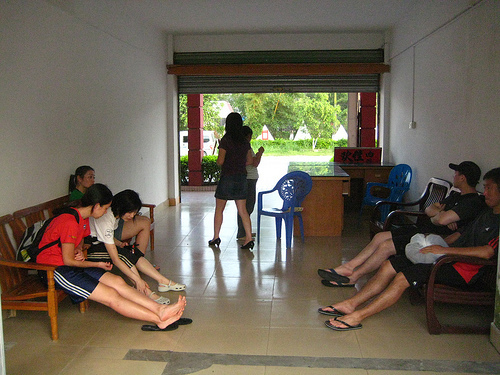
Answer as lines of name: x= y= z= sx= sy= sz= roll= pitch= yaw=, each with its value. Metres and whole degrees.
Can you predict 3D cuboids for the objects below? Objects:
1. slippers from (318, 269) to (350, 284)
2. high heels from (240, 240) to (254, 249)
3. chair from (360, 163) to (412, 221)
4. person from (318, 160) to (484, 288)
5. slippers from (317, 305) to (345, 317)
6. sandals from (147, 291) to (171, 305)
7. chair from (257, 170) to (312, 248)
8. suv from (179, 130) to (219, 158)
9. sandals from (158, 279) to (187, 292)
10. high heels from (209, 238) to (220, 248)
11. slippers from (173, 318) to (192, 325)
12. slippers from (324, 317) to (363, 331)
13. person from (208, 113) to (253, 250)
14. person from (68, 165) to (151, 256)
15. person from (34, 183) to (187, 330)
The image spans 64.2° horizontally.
slippers: x=0.850 y=0.903 z=4.127 sx=0.357 sy=0.134 sz=0.110 roll=12 pitch=13 yaw=3
high heels: x=-0.053 y=0.783 z=5.461 sx=0.073 sy=0.105 sz=0.236 roll=-3 pitch=4 yaw=-38
chair: x=2.361 y=0.075 z=6.801 sx=0.770 sy=1.087 sz=0.700 roll=-5 pitch=16 yaw=-20
person: x=1.551 y=0.421 z=4.221 sx=1.686 sy=1.193 sz=0.779 roll=-8 pitch=1 yaw=14
slippers: x=0.732 y=1.102 z=3.542 sx=0.215 sy=0.061 sz=0.089 roll=1 pitch=2 yaw=27
sandals: x=-0.855 y=1.045 z=3.765 sx=0.183 sy=0.052 sz=0.105 roll=8 pitch=6 yaw=7
chair: x=0.487 y=0.271 z=5.593 sx=0.764 sy=1.034 sz=0.640 roll=0 pitch=11 yaw=1
suv: x=-2.055 y=-2.042 z=18.388 sx=2.505 sy=1.421 sz=1.526 roll=-3 pitch=10 yaw=2
sandals: x=-0.802 y=0.997 z=4.097 sx=0.238 sy=0.100 sz=0.119 roll=0 pitch=3 yaw=-8
high heels: x=-0.476 y=0.770 z=5.571 sx=0.074 sy=0.110 sz=0.214 roll=-4 pitch=8 yaw=-44
slippers: x=-0.575 y=1.162 z=3.479 sx=0.101 sy=0.038 sz=0.055 roll=-2 pitch=4 yaw=-11
slippers: x=0.788 y=1.157 z=3.362 sx=0.229 sy=0.056 sz=0.127 roll=2 pitch=1 yaw=5
person: x=-0.261 y=-0.070 z=5.334 sx=0.578 sy=1.805 sz=0.328 roll=-2 pitch=11 yaw=-7
person: x=-1.565 y=0.180 z=5.001 sx=0.989 sy=1.355 sz=0.927 roll=1 pitch=9 yaw=-2
person: x=-1.221 y=0.580 z=3.324 sx=1.180 sy=1.190 sz=0.415 roll=-1 pitch=11 yaw=0
